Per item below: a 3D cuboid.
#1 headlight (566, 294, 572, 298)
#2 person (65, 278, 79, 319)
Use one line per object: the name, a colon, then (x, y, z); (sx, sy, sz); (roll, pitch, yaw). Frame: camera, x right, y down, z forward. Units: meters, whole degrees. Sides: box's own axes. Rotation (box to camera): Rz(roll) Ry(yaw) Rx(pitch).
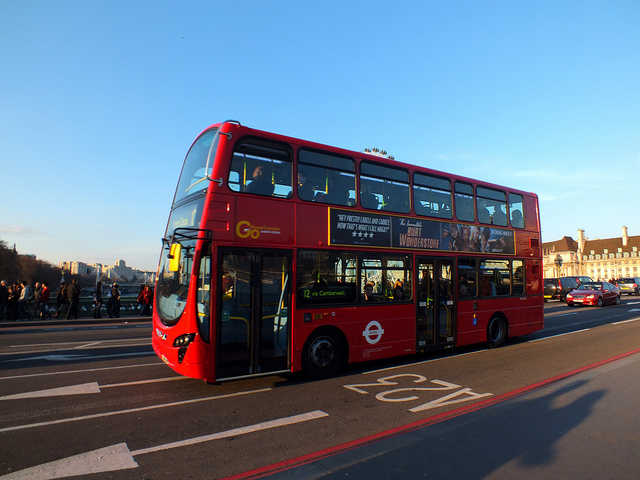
headlight: (17.074, 3.706, 28.799); (0.152, 0.215, 0.384); (0, -4, -3)
person: (-12.594, 2.881, 21.376); (0.470, 1.953, 1.130); (1, -4, -31)
